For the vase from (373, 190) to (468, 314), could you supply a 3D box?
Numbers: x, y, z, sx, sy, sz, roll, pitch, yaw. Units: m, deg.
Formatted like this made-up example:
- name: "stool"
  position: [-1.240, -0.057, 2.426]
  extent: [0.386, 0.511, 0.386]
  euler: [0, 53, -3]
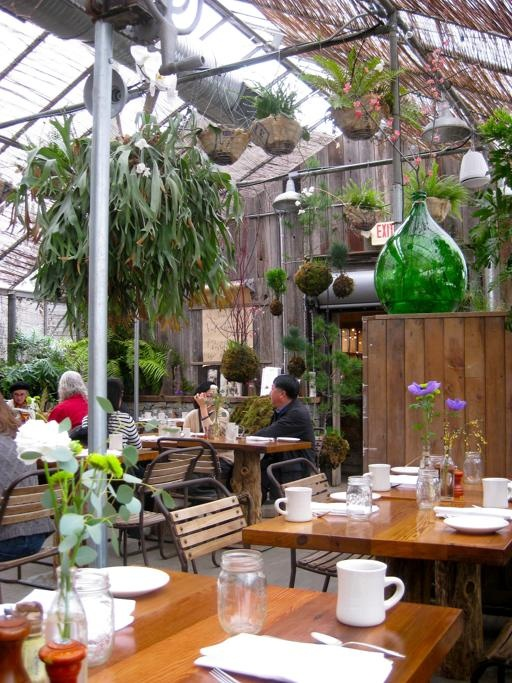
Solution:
- name: "vase"
  position: [0.506, -0.269, 1.752]
  extent: [0.273, 0.364, 0.164]
  euler: [-2, -9, 15]

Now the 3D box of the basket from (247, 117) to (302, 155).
- name: "basket"
  position: [0.148, -1.514, 4.152]
  extent: [0.284, 0.156, 0.278]
  euler: [5, -8, -25]

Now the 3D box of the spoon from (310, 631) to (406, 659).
- name: "spoon"
  position: [0.150, 0.446, 0.821]
  extent: [0.137, 0.019, 0.026]
  euler: [-11, -15, 36]

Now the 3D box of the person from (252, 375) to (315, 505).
- name: "person"
  position: [0.222, 0.885, 4.982]
  extent: [0.618, 1.179, 0.509]
  euler: [-1, 7, 6]

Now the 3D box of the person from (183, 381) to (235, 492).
- name: "person"
  position: [-0.518, 0.918, 5.532]
  extent: [0.455, 0.988, 0.559]
  euler: [1, 1, 5]

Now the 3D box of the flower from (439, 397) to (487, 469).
- name: "flower"
  position: [1.164, 0.495, 3.169]
  extent: [0.210, 0.352, 0.175]
  euler: [1, -8, -6]

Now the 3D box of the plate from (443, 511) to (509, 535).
- name: "plate"
  position: [0.650, 0.548, 1.666]
  extent: [0.173, 0.040, 0.185]
  euler: [-4, -9, 22]

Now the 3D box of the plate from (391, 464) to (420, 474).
- name: "plate"
  position: [0.773, 0.674, 2.917]
  extent: [0.154, 0.021, 0.151]
  euler: [-2, 0, -43]

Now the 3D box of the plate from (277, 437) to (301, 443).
- name: "plate"
  position: [0.261, 0.825, 4.690]
  extent: [0.200, 0.035, 0.179]
  euler: [-1, -8, 6]

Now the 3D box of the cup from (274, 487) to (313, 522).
- name: "cup"
  position: [0.131, 0.531, 1.863]
  extent: [0.153, 0.113, 0.098]
  euler: [-3, 0, -10]

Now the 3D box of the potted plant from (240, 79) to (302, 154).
- name: "potted plant"
  position: [0.179, -1.649, 4.365]
  extent: [0.422, 0.607, 0.580]
  euler: [-3, -10, 6]

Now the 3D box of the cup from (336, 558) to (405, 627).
- name: "cup"
  position: [0.201, 0.445, 1.000]
  extent: [0.135, 0.093, 0.085]
  euler: [16, -17, -38]
